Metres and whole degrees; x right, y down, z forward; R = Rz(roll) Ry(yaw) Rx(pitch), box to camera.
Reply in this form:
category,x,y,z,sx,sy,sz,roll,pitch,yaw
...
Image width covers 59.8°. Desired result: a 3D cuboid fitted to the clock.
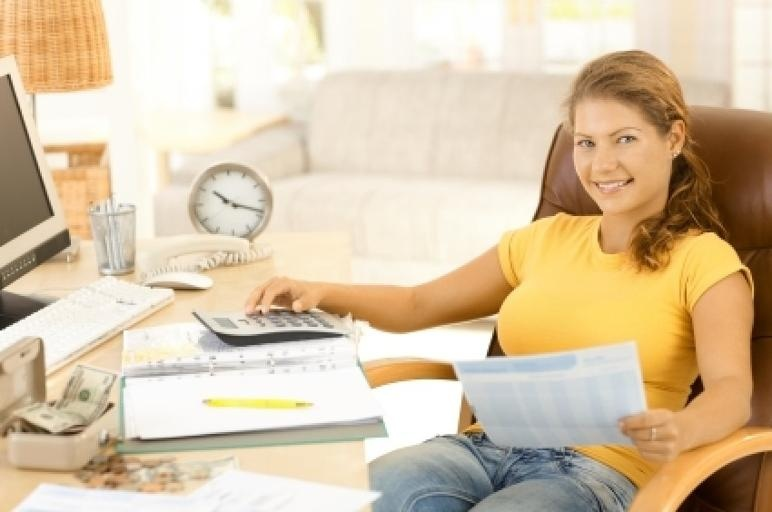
category,x,y,z,sx,sy,sz,roll,pitch,yaw
clock,-0.474,-0.166,2.022,0.262,0.230,0.056,23,6,-7

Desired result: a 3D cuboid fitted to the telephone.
category,x,y,z,sx,sy,sz,roll,pitch,yaw
telephone,-0.555,0.013,1.922,0.267,0.063,0.176,-10,-7,-12

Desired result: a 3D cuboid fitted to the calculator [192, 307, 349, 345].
category,x,y,z,sx,sy,sz,roll,pitch,yaw
calculator,-0.238,0.130,1.395,0.308,0.044,0.208,-3,10,-13

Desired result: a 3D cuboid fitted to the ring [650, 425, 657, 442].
category,x,y,z,sx,sy,sz,roll,pitch,yaw
ring,0.478,0.315,1.201,0.018,0.027,0.003,-10,15,-34

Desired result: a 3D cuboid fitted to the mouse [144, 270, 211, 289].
category,x,y,z,sx,sy,sz,roll,pitch,yaw
mouse,-0.534,0.060,1.734,0.117,0.026,0.068,3,2,-1
